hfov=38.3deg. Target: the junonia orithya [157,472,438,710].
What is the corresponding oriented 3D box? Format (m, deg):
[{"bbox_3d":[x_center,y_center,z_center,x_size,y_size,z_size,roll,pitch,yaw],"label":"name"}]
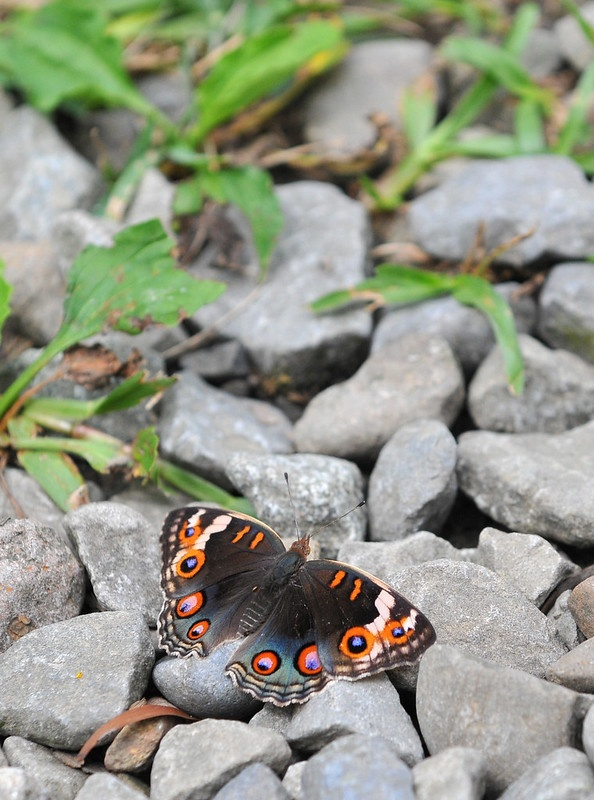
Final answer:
[{"bbox_3d":[-0.056,0.450,1.850,0.657,0.192,0.358,25,70,10],"label":"junonia orithya"}]
